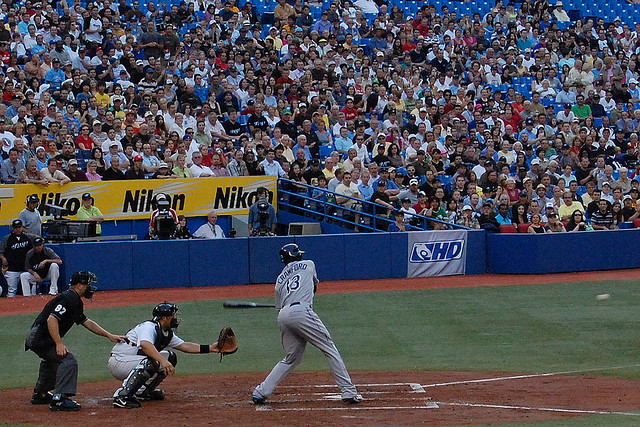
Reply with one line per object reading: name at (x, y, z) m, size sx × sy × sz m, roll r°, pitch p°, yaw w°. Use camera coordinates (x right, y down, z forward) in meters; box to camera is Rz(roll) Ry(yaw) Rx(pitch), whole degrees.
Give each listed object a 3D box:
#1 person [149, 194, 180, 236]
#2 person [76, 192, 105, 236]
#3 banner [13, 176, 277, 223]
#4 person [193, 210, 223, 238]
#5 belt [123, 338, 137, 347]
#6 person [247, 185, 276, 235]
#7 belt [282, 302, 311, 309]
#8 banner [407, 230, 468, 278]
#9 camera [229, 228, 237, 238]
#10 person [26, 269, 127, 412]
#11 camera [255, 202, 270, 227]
person at (-4.331, 0.042, 35.105) m, size 1.014 × 1.105 × 1.188 m, roll -1°, pitch -3°, yaw -15°
person at (-6.548, 0.059, 34.575) m, size 0.729 × 1.237 × 0.883 m, roll 3°, pitch -3°, yaw -14°
banner at (-5.076, -0.380, 35.611) m, size 8.428 × 1.263 × 0.094 m, roll -1°, pitch 13°, yaw -25°
person at (-3.345, 0.355, 35.872) m, size 0.893 × 0.612 × 0.418 m, roll 3°, pitch -1°, yaw -36°
belt at (-4.167, 2.850, 26.728) m, size 0.280 × 0.165 × 0.136 m, roll 2°, pitch -3°, yaw 3°
person at (-1.701, -0.077, 35.842) m, size 0.745 × 1.515 × 1.181 m, roll 2°, pitch -3°, yaw 9°
belt at (-0.422, 2.038, 26.711) m, size 0.443 × 0.103 × 0.074 m, roll 3°, pitch -3°, yaw -19°
banner at (3.504, 1.243, 36.052) m, size 1.816 × 1.410 × 0.606 m, roll 2°, pitch -3°, yaw -3°
camera at (-2.539, 0.584, 35.469) m, size 0.211 × 0.201 × 0.210 m, roll 0°, pitch -7°, yaw -7°
person at (-5.704, 2.830, 26.620) m, size 1.298 × 3.013 × 0.600 m, roll 1°, pitch -3°, yaw 17°
camera at (-1.697, 0.087, 35.473) m, size 0.348 × 0.707 × 0.322 m, roll 1°, pitch -3°, yaw 15°
